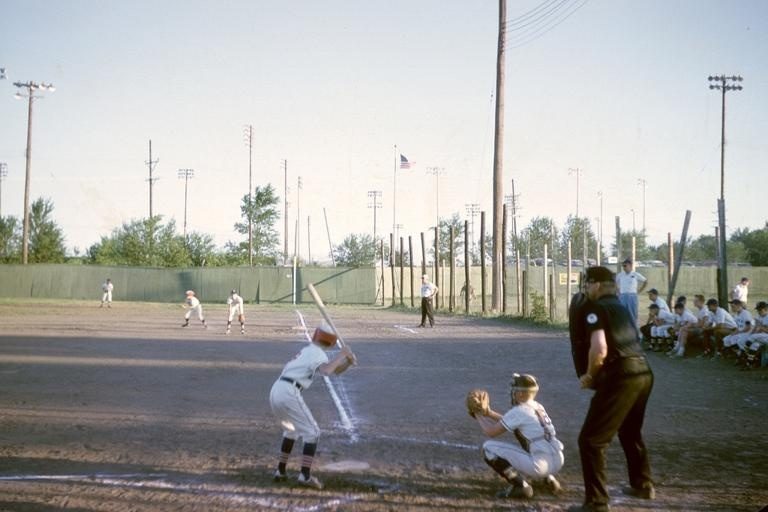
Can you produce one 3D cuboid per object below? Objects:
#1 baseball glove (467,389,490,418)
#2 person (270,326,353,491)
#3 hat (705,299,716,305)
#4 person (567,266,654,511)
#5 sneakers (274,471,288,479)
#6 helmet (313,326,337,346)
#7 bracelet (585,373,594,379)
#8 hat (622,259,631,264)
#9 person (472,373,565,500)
[{"bbox_3d":[1.529,2.526,13.902,0.395,0.544,0.500,2,-9,-24],"label":"baseball glove"},{"bbox_3d":[-1.284,2.562,14.145,1.294,2.748,0.719,-1,-1,-1],"label":"person"},{"bbox_3d":[9.035,1.292,22.675,0.210,0.119,0.163,3,2,30],"label":"hat"},{"bbox_3d":[3.734,2.143,13.529,1.242,3.933,0.563,-1,-1,-16],"label":"person"},{"bbox_3d":[-1.759,3.754,14.016,0.187,0.146,0.103,0,3,-3],"label":"sneakers"},{"bbox_3d":[-1.007,1.413,14.104,0.274,0.411,0.344,2,-12,6],"label":"helmet"},{"bbox_3d":[3.348,1.976,13.384,0.064,0.096,0.023,7,5,21],"label":"bracelet"},{"bbox_3d":[6.947,0.188,23.643,0.172,0.153,0.270,-4,11,-34],"label":"hat"},{"bbox_3d":[2.272,3.040,13.763,1.375,2.027,0.351,-1,-1,4],"label":"person"}]
